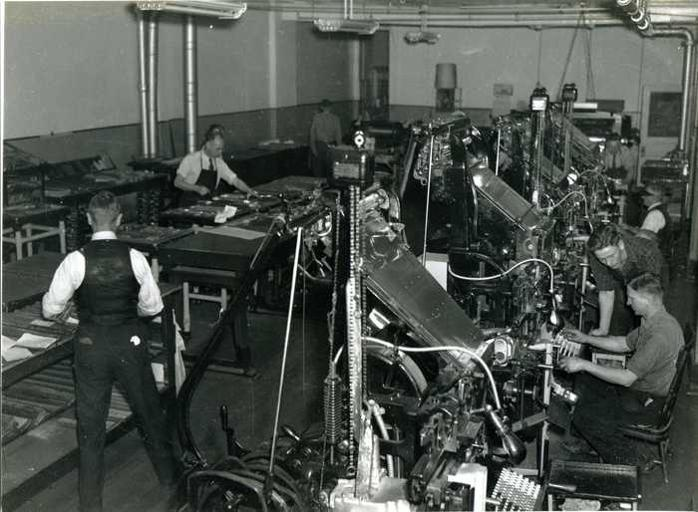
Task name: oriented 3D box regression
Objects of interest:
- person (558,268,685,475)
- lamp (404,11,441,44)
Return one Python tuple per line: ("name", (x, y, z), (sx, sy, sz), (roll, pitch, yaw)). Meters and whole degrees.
("person", (1.849, 0.843, 5.268), (0.740, 1.358, 0.643), (6, 14, 23))
("lamp", (0.525, -1.639, 5.532), (0.296, 0.313, 0.123), (-3, 24, -5))
